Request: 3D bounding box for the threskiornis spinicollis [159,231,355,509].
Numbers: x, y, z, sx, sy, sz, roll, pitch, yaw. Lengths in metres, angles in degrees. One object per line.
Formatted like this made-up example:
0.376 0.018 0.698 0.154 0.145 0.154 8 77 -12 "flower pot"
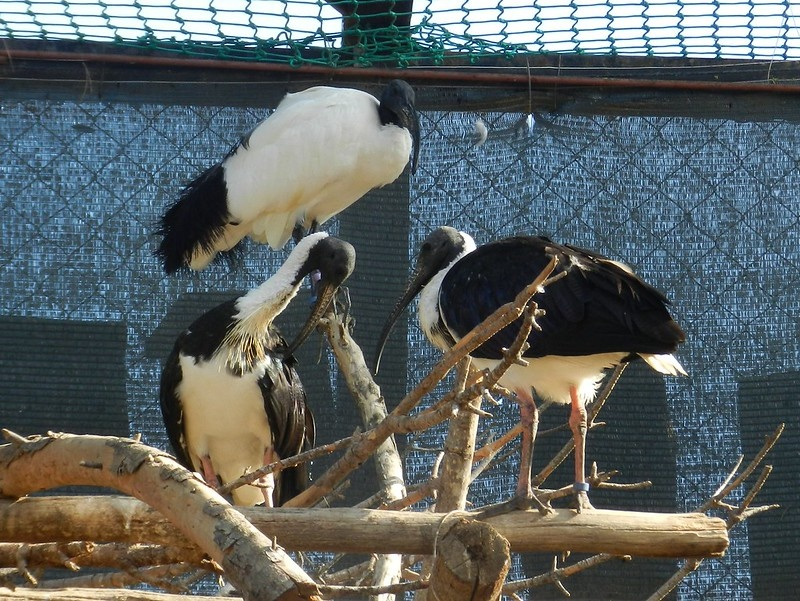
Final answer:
-0.909 0.411 11.951 1.124 1.569 0.534 -1 14 -15 "threskiornis spinicollis"
